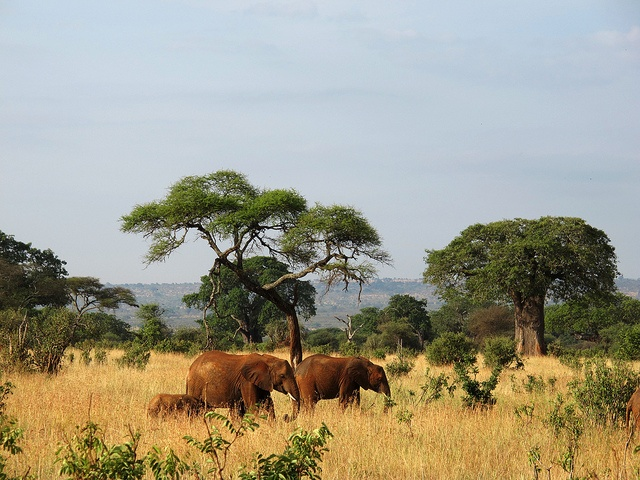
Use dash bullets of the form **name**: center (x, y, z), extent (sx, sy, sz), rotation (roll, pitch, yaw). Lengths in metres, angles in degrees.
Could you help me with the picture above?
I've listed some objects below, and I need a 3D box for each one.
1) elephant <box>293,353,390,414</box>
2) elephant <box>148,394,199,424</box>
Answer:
- **elephant**: center (0.889, 5.657, 36.254), extent (3.664, 2.726, 1.599), rotation (1, 12, 7)
- **elephant**: center (-5.321, 6.165, 34.489), extent (1.863, 1.159, 0.851), rotation (-1, -1, -7)
